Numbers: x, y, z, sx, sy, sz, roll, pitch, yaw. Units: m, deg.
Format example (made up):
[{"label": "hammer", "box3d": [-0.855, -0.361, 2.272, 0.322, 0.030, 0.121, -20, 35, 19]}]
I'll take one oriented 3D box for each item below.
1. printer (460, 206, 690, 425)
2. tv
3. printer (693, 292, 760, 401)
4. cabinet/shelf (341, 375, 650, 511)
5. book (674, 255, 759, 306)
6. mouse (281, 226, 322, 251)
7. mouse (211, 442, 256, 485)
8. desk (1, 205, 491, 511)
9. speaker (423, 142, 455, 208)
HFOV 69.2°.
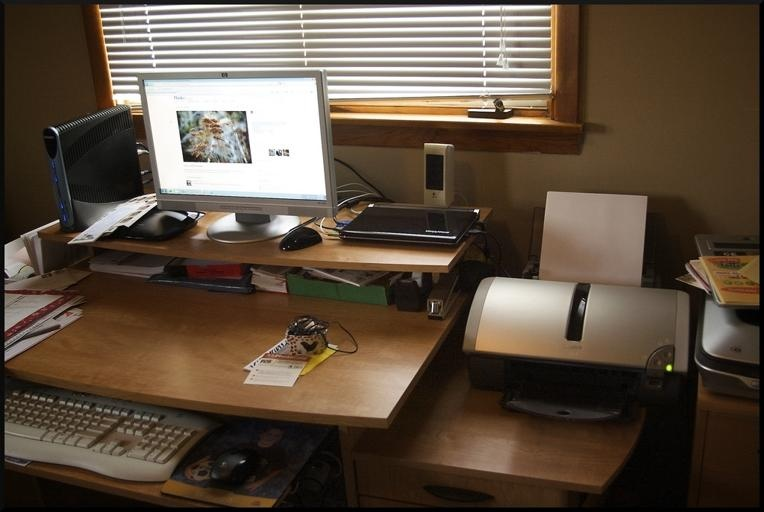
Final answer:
[{"label": "printer", "box3d": [0.547, 0.186, 1.806, 0.667, 0.638, 0.672, 6, 21, 23]}, {"label": "tv", "box3d": [-0.474, -0.328, 1.836, 0.649, 0.458, 0.262, 1, 31, 11]}, {"label": "printer", "box3d": [0.895, 0.238, 1.479, 0.238, 0.112, 0.221, 9, 52, 18]}, {"label": "cabinet/shelf", "box3d": [0.292, 0.516, 1.469, 0.618, 0.361, 0.358, 4, 25, 17]}, {"label": "book", "box3d": [0.909, 0.072, 1.501, 0.165, 0.035, 0.147, -4, 31, 2]}, {"label": "mouse", "box3d": [-0.265, -0.055, 1.811, 0.068, 0.038, 0.118, 15, 23, 41]}, {"label": "mouse", "box3d": [-0.382, 0.529, 1.443, 0.089, 0.046, 0.150, 9, 6, 8]}, {"label": "desk", "box3d": [-0.399, 0.273, 1.766, 1.362, 0.295, 0.903, 4, 31, 17]}, {"label": "speaker", "box3d": [0.201, -0.283, 1.963, 0.108, 0.218, 0.059, -2, 20, 5]}]
